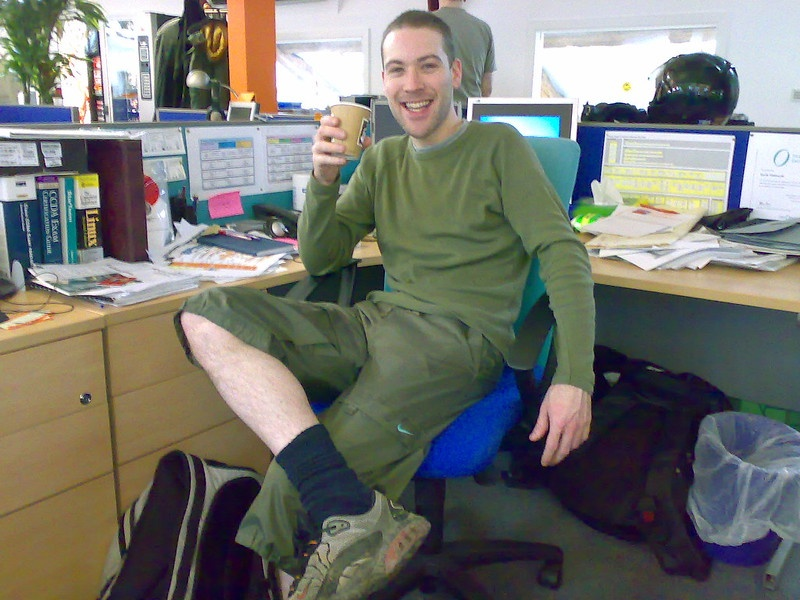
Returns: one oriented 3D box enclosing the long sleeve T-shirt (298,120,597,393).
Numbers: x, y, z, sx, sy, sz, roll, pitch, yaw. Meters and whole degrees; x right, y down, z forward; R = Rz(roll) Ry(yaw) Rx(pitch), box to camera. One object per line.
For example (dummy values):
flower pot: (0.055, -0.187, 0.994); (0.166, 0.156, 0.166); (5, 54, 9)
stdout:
long sleeve T-shirt: (0.120, -0.110, 1.629); (0.774, 0.579, 0.403); (3, 15, 37)

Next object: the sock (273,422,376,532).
sock: (-0.204, 0.358, 1.300); (0.297, 0.103, 0.129); (43, 1, 17)

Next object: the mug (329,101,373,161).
mug: (-0.149, -0.475, 1.649); (0.133, 0.133, 0.135); (0, 4, -34)

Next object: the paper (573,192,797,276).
paper: (0.900, -0.196, 1.960); (0.338, 0.099, 0.358); (-19, 28, -38)

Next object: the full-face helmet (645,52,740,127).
full-face helmet: (1.114, -0.833, 2.332); (0.243, 0.263, 0.326); (-30, 41, -33)

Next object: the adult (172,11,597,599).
adult: (-0.112, 0.006, 2.075); (1.408, 1.768, 1.200); (-3, 10, -41)
